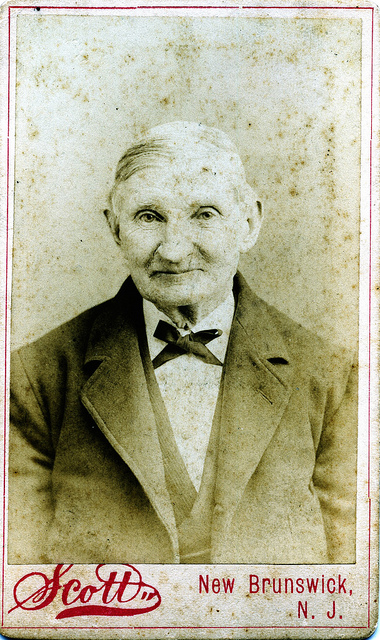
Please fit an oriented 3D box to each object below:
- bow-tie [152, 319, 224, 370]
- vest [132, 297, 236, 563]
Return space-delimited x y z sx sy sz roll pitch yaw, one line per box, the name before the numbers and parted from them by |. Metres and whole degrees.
bow-tie | -0.016 0.098 4.226 0.219 0.210 0.086 -2 20 -7
vest | -0.009 0.471 4.208 0.488 0.724 0.365 -6 27 -8
